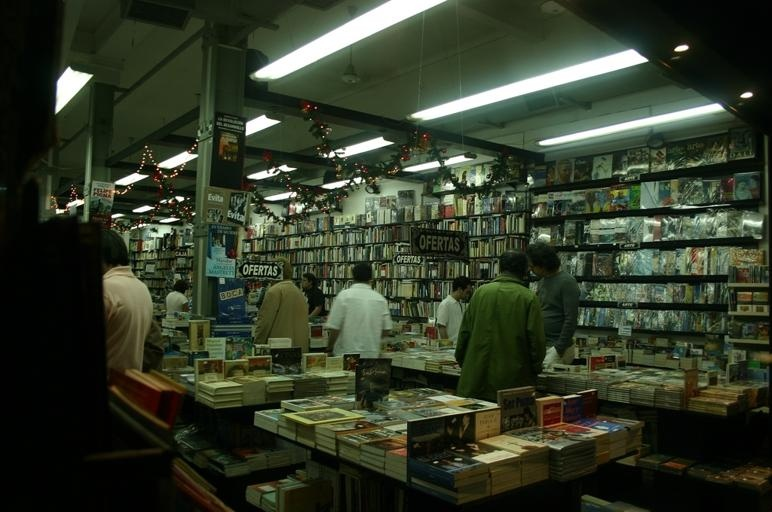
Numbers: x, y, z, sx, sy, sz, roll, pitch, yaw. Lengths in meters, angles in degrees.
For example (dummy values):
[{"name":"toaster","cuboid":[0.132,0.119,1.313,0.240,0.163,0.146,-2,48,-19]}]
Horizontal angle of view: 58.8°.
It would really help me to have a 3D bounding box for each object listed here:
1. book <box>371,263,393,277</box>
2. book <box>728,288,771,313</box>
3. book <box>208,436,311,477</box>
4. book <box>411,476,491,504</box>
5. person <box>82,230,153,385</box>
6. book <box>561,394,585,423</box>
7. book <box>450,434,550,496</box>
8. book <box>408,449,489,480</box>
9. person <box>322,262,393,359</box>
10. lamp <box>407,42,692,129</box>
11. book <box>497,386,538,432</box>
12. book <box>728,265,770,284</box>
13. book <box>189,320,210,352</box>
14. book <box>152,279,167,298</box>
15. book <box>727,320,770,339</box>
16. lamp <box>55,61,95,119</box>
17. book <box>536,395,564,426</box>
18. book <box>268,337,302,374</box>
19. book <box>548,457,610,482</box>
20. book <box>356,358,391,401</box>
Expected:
[{"name":"book","cuboid":[-0.027,0.290,14.254,0.556,0.275,0.516,2,1,7]},{"name":"book","cuboid":[4.154,0.514,7.818,0.539,0.257,0.381,-2,0,28]},{"name":"book","cuboid":[-1.036,1.650,5.613,0.675,0.143,0.639,1,-5,-20]},{"name":"book","cuboid":[0.390,1.326,3.903,0.279,0.061,0.262,-1,-3,43]},{"name":"person","cuboid":[-1.722,0.296,4.585,0.304,0.928,0.305,1,-1,-18]},{"name":"book","cuboid":[1.303,1.065,4.763,0.182,0.187,0.075,3,-6,-31]},{"name":"book","cuboid":[0.749,1.248,4.108,0.402,0.110,0.283,2,-3,-45]},{"name":"book","cuboid":[0.369,1.220,3.971,0.373,0.103,0.265,0,-1,39]},{"name":"person","cuboid":[-0.255,0.531,6.786,0.611,0.914,0.403,0,-1,-2]},{"name":"lamp","cuboid":[1.586,-1.867,7.582,2.439,0.379,0.390,0,-1,34]},{"name":"book","cuboid":[0.910,1.043,4.587,0.063,0.282,0.340,23,-29,-27]},{"name":"book","cuboid":[4.253,0.217,8.047,0.332,0.112,0.354,-4,-10,39]},{"name":"book","cuboid":[-1.816,0.795,6.873,0.216,0.315,0.118,0,7,14]},{"name":"book","cuboid":[-7.691,1.120,23.397,0.720,0.654,0.234,-10,-11,41]},{"name":"book","cuboid":[4.162,0.842,7.839,0.502,0.244,0.331,2,0,23]},{"name":"lamp","cuboid":[-4.703,-2.480,10.382,0.450,0.381,1.785,1,-1,-27]},{"name":"book","cuboid":[1.123,1.061,4.666,0.178,0.146,0.066,3,-8,-31]},{"name":"book","cuboid":[-0.875,0.887,6.024,0.194,0.268,0.285,1,-2,-9]},{"name":"book","cuboid":[1.139,1.332,4.232,0.170,0.065,0.223,3,-8,-40]},{"name":"book","cuboid":[-0.090,0.899,4.993,0.354,0.425,0.050,1,2,-33]}]
